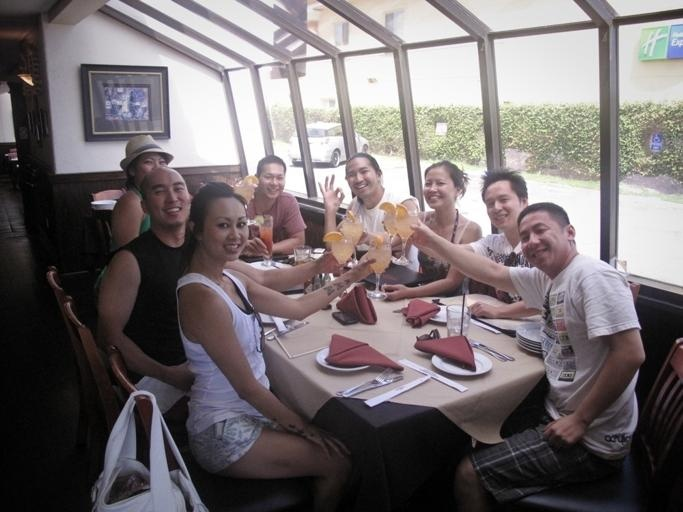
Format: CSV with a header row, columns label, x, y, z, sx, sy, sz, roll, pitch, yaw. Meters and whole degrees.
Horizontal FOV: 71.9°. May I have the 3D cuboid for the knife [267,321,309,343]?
label,x,y,z,sx,sy,sz,roll,pitch,yaw
knife,-0.266,0.350,2.256,0.120,0.035,0.087,-19,18,-30

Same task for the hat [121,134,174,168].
label,x,y,z,sx,sy,sz,roll,pitch,yaw
hat,-1.435,-0.798,3.397,0.350,0.145,0.271,1,17,35

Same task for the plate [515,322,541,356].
label,x,y,z,sx,sy,sz,roll,pitch,yaw
plate,0.837,0.370,2.133,0.128,0.050,0.125,-16,22,-33

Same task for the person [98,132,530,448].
label,x,y,z,sx,sy,sz,roll,pitch,yaw
person,-0.349,0.008,2.523,2.369,1.483,1.009,5,22,14

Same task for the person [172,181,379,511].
label,x,y,z,sx,sy,sz,roll,pitch,yaw
person,-0.386,0.372,1.893,0.505,1.286,0.679,-11,15,-27

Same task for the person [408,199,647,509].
label,x,y,z,sx,sy,sz,roll,pitch,yaw
person,0.822,0.407,1.942,0.731,1.174,0.473,-8,14,-19

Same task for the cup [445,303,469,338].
label,x,y,z,sx,sy,sz,roll,pitch,yaw
cup,0.509,0.280,2.142,0.131,0.143,0.128,0,15,0

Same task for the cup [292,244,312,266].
label,x,y,z,sx,sy,sz,roll,pitch,yaw
cup,-0.264,-0.007,3.131,0.120,0.126,0.114,-1,16,0

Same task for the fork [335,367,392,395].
label,x,y,z,sx,sy,sz,roll,pitch,yaw
fork,0.101,0.503,1.825,0.239,0.019,0.074,-12,23,-39

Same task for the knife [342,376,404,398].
label,x,y,z,sx,sy,sz,roll,pitch,yaw
knife,0.123,0.503,1.826,0.280,0.027,0.081,-11,22,-35

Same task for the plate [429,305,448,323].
label,x,y,z,sx,sy,sz,roll,pitch,yaw
plate,0.481,0.293,2.342,0.079,0.014,0.080,16,33,39
